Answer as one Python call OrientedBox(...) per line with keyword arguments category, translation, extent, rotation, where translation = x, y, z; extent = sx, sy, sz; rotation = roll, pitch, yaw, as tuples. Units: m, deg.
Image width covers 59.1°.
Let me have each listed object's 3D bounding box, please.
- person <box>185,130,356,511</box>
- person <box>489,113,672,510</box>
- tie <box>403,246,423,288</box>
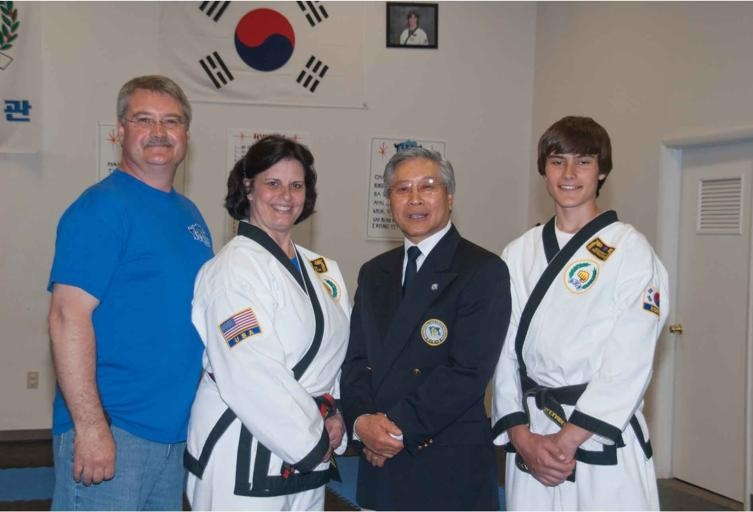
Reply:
OrientedBox(category="person", translation=(-0.504, 0.305, 3.145), extent=(0.749, 1.756, 0.625), rotation=(2, 7, -3))
OrientedBox(category="person", translation=(0.964, 0.281, 3.164), extent=(0.785, 1.897, 0.519), rotation=(4, 7, 11))
OrientedBox(category="tie", translation=(0.178, 0.047, 3.274), extent=(0.058, 0.254, 0.069), rotation=(8, -20, 17))
